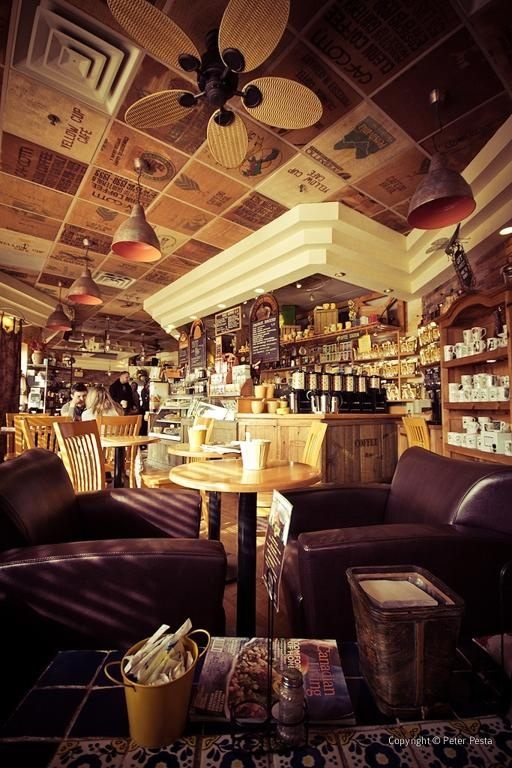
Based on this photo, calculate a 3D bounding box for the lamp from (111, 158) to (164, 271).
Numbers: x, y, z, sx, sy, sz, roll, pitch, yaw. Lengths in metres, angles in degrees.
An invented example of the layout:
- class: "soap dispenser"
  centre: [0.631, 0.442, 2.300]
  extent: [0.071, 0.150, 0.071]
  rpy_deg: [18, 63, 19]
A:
- class: "lamp"
  centre: [-0.812, -1.229, 3.664]
  extent: [0.320, 0.690, 0.322]
  rpy_deg: [-6, -13, 25]

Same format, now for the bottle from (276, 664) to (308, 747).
- class: "bottle"
  centre: [0.074, 0.650, 1.099]
  extent: [0.060, 0.136, 0.120]
  rpy_deg: [1, 6, 3]

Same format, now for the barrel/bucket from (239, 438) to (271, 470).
- class: "barrel/bucket"
  centre: [-0.014, 0.305, 2.254]
  extent: [0.119, 0.099, 0.127]
  rpy_deg: [1, -11, 0]

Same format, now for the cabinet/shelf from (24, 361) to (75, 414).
- class: "cabinet/shelf"
  centre: [-4.168, 0.078, 10.635]
  extent: [0.370, 1.151, 1.178]
  rpy_deg: [0, -3, 6]

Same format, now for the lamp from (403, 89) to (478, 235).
- class: "lamp"
  centre: [1.152, -1.404, 3.341]
  extent: [0.376, 0.856, 0.922]
  rpy_deg: [2, 6, 10]

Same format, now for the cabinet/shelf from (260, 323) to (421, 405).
- class: "cabinet/shelf"
  centre: [0.849, -0.191, 7.182]
  extent: [2.921, 1.063, 0.855]
  rpy_deg: [1, 10, 35]

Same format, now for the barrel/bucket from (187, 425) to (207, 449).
- class: "barrel/bucket"
  centre: [-0.347, 0.319, 3.132]
  extent: [0.108, 0.099, 0.123]
  rpy_deg: [0, -13, 2]

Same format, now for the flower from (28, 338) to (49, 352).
- class: "flower"
  centre: [-4.130, -0.759, 10.032]
  extent: [0.222, 0.157, 0.226]
  rpy_deg: [20, -5, 16]

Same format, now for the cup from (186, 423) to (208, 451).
- class: "cup"
  centre: [-0.340, 0.321, 3.136]
  extent: [0.117, 0.130, 0.129]
  rpy_deg: [-1, -13, 5]

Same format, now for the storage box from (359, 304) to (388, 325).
- class: "storage box"
  centre: [1.503, -0.877, 6.868]
  extent: [0.199, 0.372, 0.367]
  rpy_deg: [3, 5, 24]

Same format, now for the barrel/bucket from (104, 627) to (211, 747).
- class: "barrel/bucket"
  centre: [-0.202, 0.646, 1.111]
  extent: [0.155, 0.164, 0.227]
  rpy_deg: [6, 9, 40]

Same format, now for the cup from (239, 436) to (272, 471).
- class: "cup"
  centre: [-0.006, 0.298, 2.226]
  extent: [0.121, 0.099, 0.128]
  rpy_deg: [1, -12, 0]

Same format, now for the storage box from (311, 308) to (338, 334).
- class: "storage box"
  centre: [1.000, -0.923, 7.641]
  extent: [0.363, 0.560, 0.378]
  rpy_deg: [0, -3, 7]

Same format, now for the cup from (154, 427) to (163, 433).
- class: "cup"
  centre: [-1.201, 0.582, 6.537]
  extent: [0.075, 0.056, 0.076]
  rpy_deg: [0, -10, 0]
